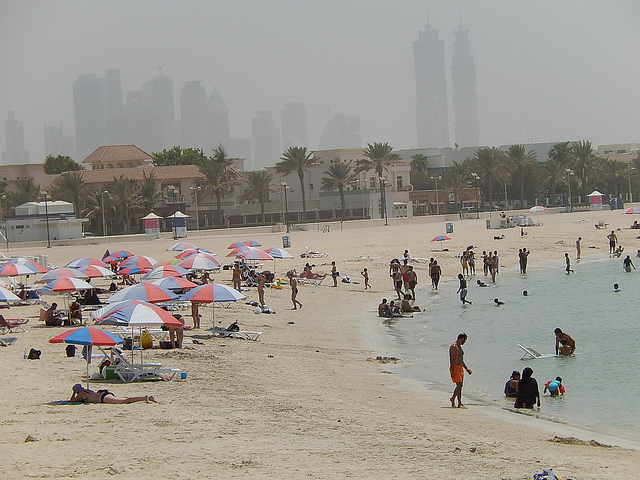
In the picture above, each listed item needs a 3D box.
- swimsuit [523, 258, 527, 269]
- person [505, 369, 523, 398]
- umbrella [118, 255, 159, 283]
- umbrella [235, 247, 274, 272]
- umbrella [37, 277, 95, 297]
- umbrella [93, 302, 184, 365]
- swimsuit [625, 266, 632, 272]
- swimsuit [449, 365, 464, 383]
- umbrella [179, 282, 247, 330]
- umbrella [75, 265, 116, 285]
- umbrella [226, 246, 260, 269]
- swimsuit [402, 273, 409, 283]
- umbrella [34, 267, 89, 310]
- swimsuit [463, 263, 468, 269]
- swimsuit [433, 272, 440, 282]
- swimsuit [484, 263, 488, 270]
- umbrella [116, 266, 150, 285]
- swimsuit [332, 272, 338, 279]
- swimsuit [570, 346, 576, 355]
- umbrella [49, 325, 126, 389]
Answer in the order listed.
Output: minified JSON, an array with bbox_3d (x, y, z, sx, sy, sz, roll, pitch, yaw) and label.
[{"bbox_3d":[11.232,1.249,72.368,0.090,0.699,0.565,8,13,22],"label":"swimsuit"},{"bbox_3d":[7.040,5.203,47.956,0.538,0.774,0.704,-3,16,-23],"label":"person"},{"bbox_3d":[-8.427,1.318,61.545,1.249,0.825,1.244,0,8,5],"label":"umbrella"},{"bbox_3d":[-3.248,0.968,67.170,1.330,0.838,1.348,1,1,26],"label":"umbrella"},{"bbox_3d":[-10.058,1.901,52.395,1.925,0.741,1.221,10,14,29],"label":"umbrella"},{"bbox_3d":[-6.540,3.249,47.387,2.989,2.092,3.327,0,-1,33],"label":"umbrella"},{"bbox_3d":[16.537,1.505,70.909,0.288,0.275,0.068,3,-16,8],"label":"swimsuit"},{"bbox_3d":[4.782,4.602,46.116,0.426,0.701,0.427,7,13,17],"label":"swimsuit"},{"bbox_3d":[-4.051,2.476,51.220,2.408,1.652,2.300,-1,4,-24],"label":"umbrella"},{"bbox_3d":[-9.852,1.458,58.664,1.103,0.409,1.112,4,-3,15],"label":"umbrella"},{"bbox_3d":[-3.813,0.871,67.760,1.176,0.746,1.044,-5,7,-41],"label":"umbrella"},{"bbox_3d":[4.170,1.789,64.010,0.120,0.433,0.501,-5,15,-32],"label":"swimsuit"},{"bbox_3d":[-10.776,2.030,55.918,1.594,1.347,1.620,-2,9,6],"label":"umbrella"},{"bbox_3d":[7.939,1.360,71.990,0.224,0.448,0.737,4,12,5],"label":"swimsuit"},{"bbox_3d":[5.996,1.874,68.019,0.379,0.599,0.362,-1,6,-19],"label":"swimsuit"},{"bbox_3d":[8.965,1.370,71.153,0.270,0.364,0.105,3,11,9],"label":"swimsuit"},{"bbox_3d":[-8.660,1.597,61.801,0.889,0.593,0.929,4,4,23],"label":"umbrella"},{"bbox_3d":[0.810,1.732,67.261,0.220,0.379,0.262,0,0,15],"label":"swimsuit"},{"bbox_3d":[9.886,4.274,51.698,0.082,0.249,0.378,11,15,34],"label":"swimsuit"},{"bbox_3d":[-7.988,3.917,45.872,2.257,1.994,2.170,-1,7,-39],"label":"umbrella"}]
